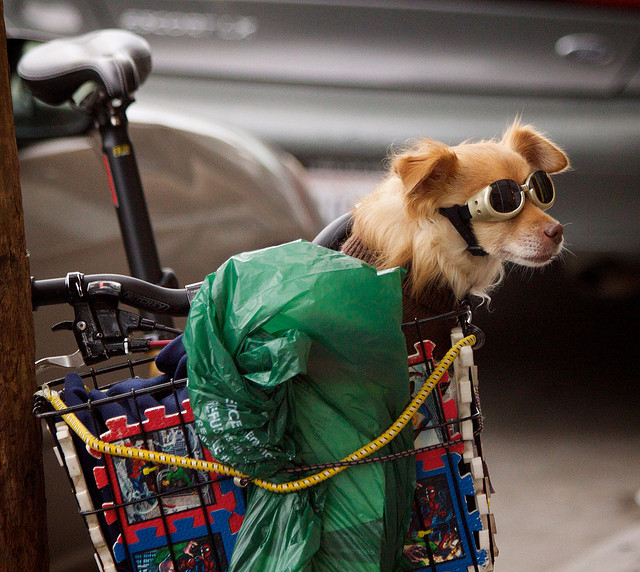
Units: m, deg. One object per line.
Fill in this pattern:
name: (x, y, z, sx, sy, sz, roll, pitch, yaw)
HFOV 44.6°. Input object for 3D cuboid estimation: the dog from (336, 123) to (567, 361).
dog: (0.169, -0.074, 1.450, 0.297, 0.431, 0.576, -18, 21, -36)

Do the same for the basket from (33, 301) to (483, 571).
basket: (-0.069, 0.109, 1.097, 0.403, 0.440, 0.448, 5, 12, 14)
